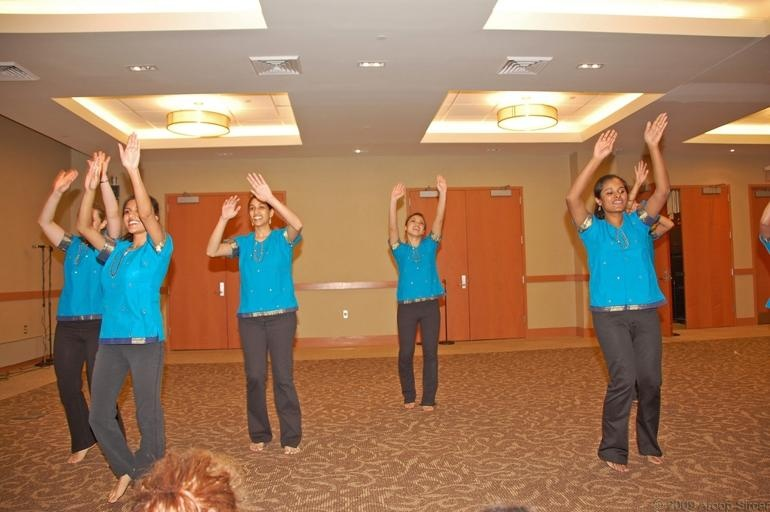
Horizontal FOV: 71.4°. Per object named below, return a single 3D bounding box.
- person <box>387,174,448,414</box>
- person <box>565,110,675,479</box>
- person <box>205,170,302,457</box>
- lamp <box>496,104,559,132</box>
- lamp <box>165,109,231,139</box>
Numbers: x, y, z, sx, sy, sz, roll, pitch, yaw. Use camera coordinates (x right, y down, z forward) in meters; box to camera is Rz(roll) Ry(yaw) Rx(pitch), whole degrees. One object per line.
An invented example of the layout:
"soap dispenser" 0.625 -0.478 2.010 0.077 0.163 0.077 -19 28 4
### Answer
"person" 0.464 0.465 7.070 0.737 3.028 0.666 -2 4 -2
"person" 2.401 0.344 5.461 0.982 3.531 0.587 -1 4 7
"person" -1.348 0.618 5.970 0.822 3.033 0.743 1 5 40
"lamp" 2.559 -2.537 9.663 1.005 0.409 0.620 -1 4 13
"lamp" -3.321 -2.385 9.516 1.021 0.384 0.608 -3 4 -20
